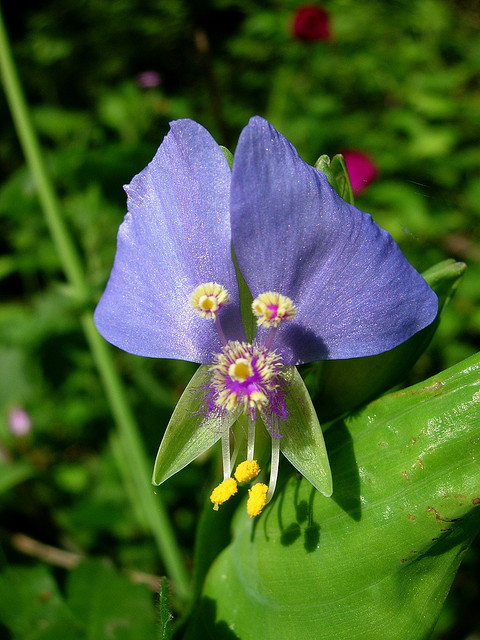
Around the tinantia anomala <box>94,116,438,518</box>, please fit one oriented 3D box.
[{"bbox_3d":[0.027,0.006,0.602,0.329,0.288,0.166,-3,0,6],"label":"tinantia anomala"}]
